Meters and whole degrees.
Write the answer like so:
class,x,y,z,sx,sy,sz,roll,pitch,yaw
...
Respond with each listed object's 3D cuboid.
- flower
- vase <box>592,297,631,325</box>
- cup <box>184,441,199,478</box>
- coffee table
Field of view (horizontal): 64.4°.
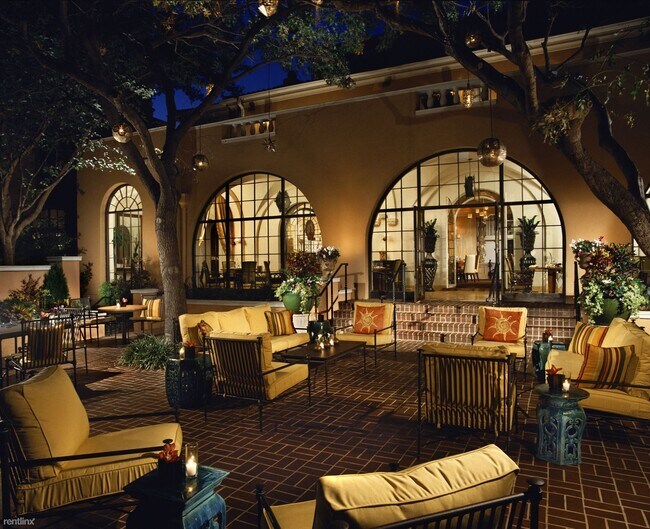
class,x,y,z,sx,sy,sz,roll,pitch,yaw
flower,4.620,0.290,8.662,1.213,1.746,1.201,1,-11,1
vase,4.511,0.726,8.134,0.531,0.467,0.575,-1,-4,40
cup,-0.973,1.408,3.731,0.086,0.235,0.144,-2,0,-17
coffee table,2.337,1.626,5.309,0.589,0.783,0.626,1,-4,-1
